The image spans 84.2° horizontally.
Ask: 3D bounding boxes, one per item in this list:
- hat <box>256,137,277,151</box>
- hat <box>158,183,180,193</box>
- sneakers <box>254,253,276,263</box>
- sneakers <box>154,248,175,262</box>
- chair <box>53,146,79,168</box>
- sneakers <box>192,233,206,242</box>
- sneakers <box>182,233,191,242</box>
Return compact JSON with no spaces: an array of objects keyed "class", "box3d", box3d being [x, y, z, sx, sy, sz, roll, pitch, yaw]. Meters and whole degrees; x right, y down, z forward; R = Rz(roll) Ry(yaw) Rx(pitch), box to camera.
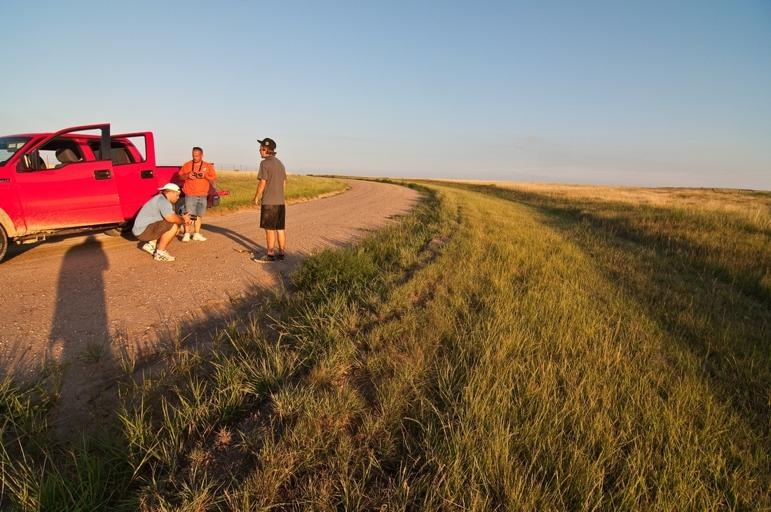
[{"class":"hat","box3d":[-2.523,-2.424,9.249,0.290,0.297,0.611,-6,21,-19]},{"class":"hat","box3d":[-4.884,-1.563,9.730,0.425,0.204,0.313,3,-3,-34]},{"class":"sneakers","box3d":[-2.815,0.059,9.971,0.554,0.243,0.217,3,4,-2]},{"class":"sneakers","box3d":[-4.842,0.011,9.473,0.497,0.245,0.211,10,14,-25]},{"class":"chair","box3d":[-7.114,-2.229,9.552,0.298,0.517,0.552,-4,6,6]},{"class":"sneakers","box3d":[-4.919,-0.504,11.380,0.188,0.158,0.329,13,15,28]},{"class":"sneakers","box3d":[-5.241,-0.485,11.339,0.124,0.179,0.402,6,-8,-28]}]
